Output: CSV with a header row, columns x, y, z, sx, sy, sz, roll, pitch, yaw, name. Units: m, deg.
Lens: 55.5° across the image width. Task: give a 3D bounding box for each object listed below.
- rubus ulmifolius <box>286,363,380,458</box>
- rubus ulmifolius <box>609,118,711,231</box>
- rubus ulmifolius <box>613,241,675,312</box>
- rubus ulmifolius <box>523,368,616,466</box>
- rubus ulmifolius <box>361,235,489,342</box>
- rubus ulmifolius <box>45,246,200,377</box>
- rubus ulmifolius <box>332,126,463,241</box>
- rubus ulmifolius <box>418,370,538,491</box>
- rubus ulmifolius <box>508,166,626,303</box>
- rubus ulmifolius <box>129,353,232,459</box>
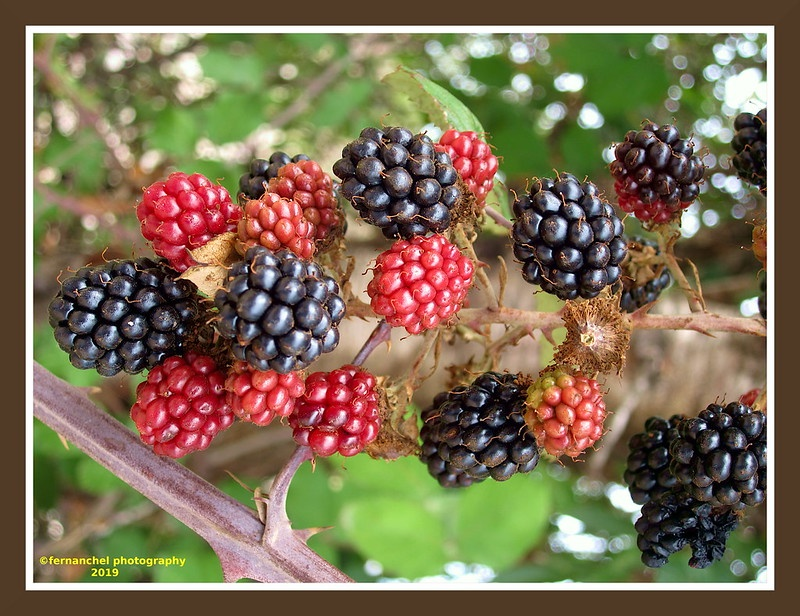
x,y,z,sx,sy,sz,roll,pitch,yaw,name
-0.163,0.267,2.058,0.226,0.189,0.243,-21,43,14,rubus ulmifolius
0.678,-0.388,2.220,0.273,0.361,0.312,-17,21,-42,rubus ulmifolius
0.721,-0.094,2.335,0.179,0.138,0.233,13,97,-3,rubus ulmifolius
0.427,0.264,2.032,0.209,0.195,0.226,-8,44,-28,rubus ulmifolius
0.056,-0.061,1.964,0.271,0.284,0.181,19,36,-15,rubus ulmifolius
-0.718,0.005,1.996,0.378,0.249,0.286,4,55,-8,rubus ulmifolius
-0.005,-0.320,1.932,0.323,0.198,0.220,23,55,6,rubus ulmifolius
0.224,0.335,2.110,0.316,0.329,0.270,15,55,1,rubus ulmifolius
0.432,-0.193,2.069,0.307,0.213,0.328,-34,105,0,rubus ulmifolius
-0.578,0.252,2.010,0.257,0.150,0.284,4,56,-6,rubus ulmifolius
